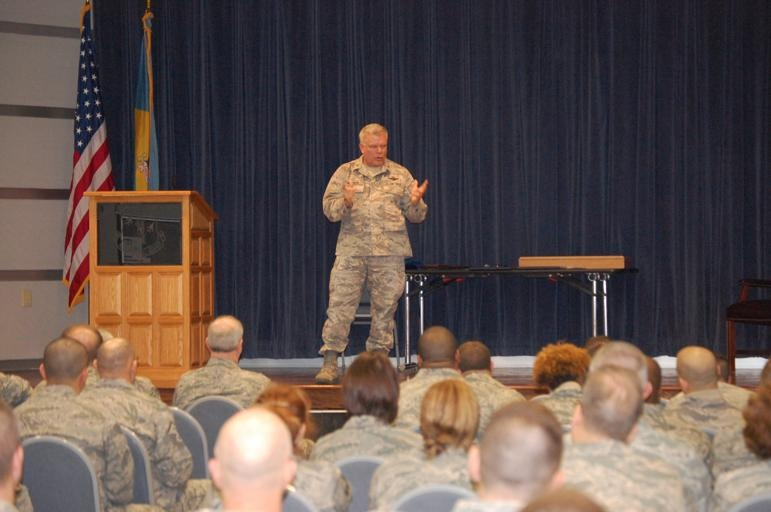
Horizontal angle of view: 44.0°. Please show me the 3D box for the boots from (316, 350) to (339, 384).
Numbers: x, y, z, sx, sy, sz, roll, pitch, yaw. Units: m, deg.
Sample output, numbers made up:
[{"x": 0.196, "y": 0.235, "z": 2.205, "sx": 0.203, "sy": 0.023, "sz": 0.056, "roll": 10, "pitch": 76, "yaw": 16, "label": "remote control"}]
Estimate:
[{"x": -0.504, "y": 0.980, "z": 8.618, "sx": 0.172, "sy": 0.322, "sz": 0.446, "roll": -8, "pitch": -10, "yaw": 13, "label": "boots"}]

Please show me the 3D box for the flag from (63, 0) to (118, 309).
[{"x": -2.985, "y": -1.023, "z": 9.631, "sx": 0.451, "sy": 3.073, "sz": 0.439, "roll": 2, "pitch": -6, "yaw": -2, "label": "flag"}]

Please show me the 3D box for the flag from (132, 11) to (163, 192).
[{"x": -2.431, "y": -1.633, "z": 9.883, "sx": 0.298, "sy": 1.996, "sz": 0.566, "roll": 4, "pitch": -6, "yaw": -15, "label": "flag"}]
